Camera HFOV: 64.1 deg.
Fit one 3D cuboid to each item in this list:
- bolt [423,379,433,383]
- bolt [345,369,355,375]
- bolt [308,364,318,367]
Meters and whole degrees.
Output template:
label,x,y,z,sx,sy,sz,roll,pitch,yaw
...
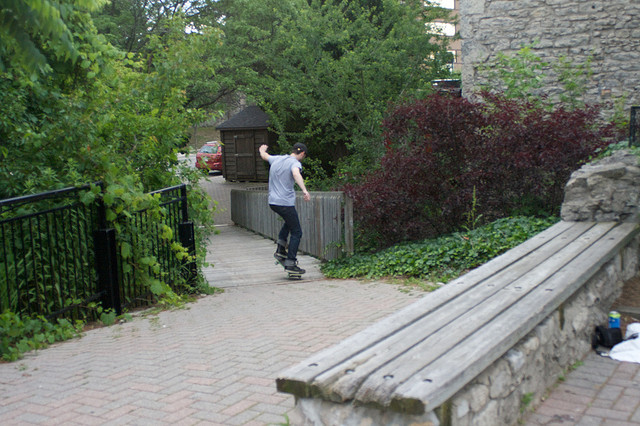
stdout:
label,x,y,z,sx,sy,sz,roll,pitch,yaw
bolt,0.739,1.158,3.524,0.057,0.009,0.046,-2,7,3
bolt,0.210,1.151,3.703,0.063,0.012,0.065,-2,7,3
bolt,-0.051,1.133,3.797,0.063,0.006,0.036,-1,7,11
